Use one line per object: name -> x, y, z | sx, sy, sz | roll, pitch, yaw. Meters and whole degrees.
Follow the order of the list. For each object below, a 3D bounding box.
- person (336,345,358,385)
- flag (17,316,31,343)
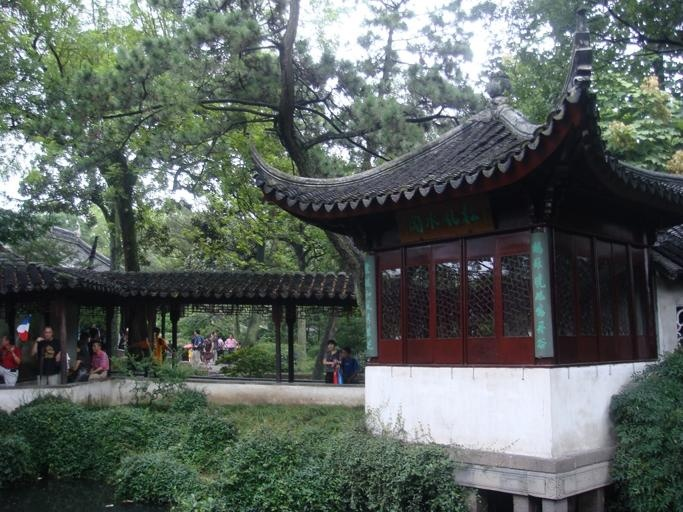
person -> 0.163, 3.011, 18.811 | 0.598, 1.035, 1.288 | -2, -9, 0
flag -> -10.217, 2.348, 21.978 | 0.251, 0.830, 0.857 | -1, -1, -32
